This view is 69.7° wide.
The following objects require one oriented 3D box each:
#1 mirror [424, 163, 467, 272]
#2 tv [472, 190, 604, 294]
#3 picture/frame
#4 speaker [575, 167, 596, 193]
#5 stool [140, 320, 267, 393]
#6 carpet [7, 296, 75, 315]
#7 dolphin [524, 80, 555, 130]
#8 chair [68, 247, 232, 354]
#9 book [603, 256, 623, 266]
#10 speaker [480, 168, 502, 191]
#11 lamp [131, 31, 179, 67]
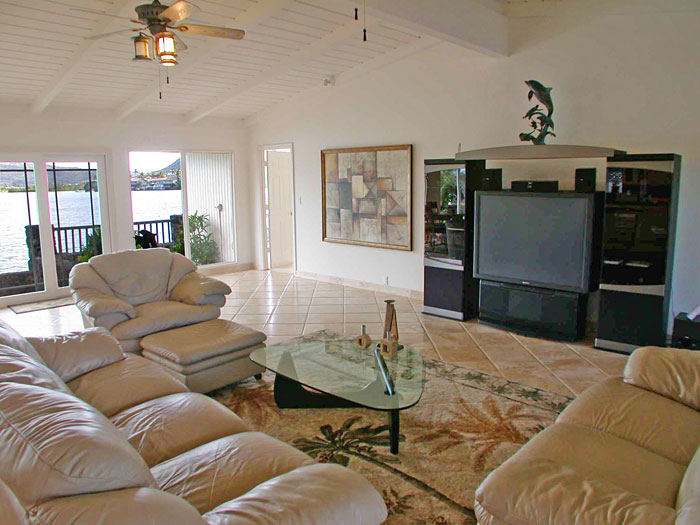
[{"bbox_3d":[1.274,-0.588,6.061,0.661,1.254,0.468,4,11,40],"label":"mirror"},{"bbox_3d":[2.002,-0.225,5.204,1.131,0.855,0.401,8,14,40],"label":"tv"},{"bbox_3d":[0.294,-0.975,7.264,1.743,1.341,0.114,6,15,41],"label":"picture/frame"},{"bbox_3d":[2.313,-0.807,4.934,0.177,0.223,0.157,4,14,20],"label":"speaker"},{"bbox_3d":[-1.153,0.706,4.124,0.671,0.344,0.713,-9,14,-44],"label":"stool"},{"bbox_3d":[-4.221,0.595,6.903,0.636,0.027,0.896,10,16,42],"label":"carpet"},{"bbox_3d":[2.050,-1.728,5.395,0.313,0.550,0.568,4,14,19],"label":"dolphin"},{"bbox_3d":[-1.905,0.375,4.821,1.264,0.783,0.993,-8,20,-35],"label":"chair"},{"bbox_3d":[2.486,-0.019,4.753,0.093,0.061,0.105,-5,11,-39],"label":"book"},{"bbox_3d":[1.610,-0.954,5.763,0.143,0.230,0.259,11,15,34],"label":"speaker"},{"bbox_3d":[-1.398,-1.634,3.710,0.260,0.238,0.214,-3,12,-3],"label":"lamp"}]
